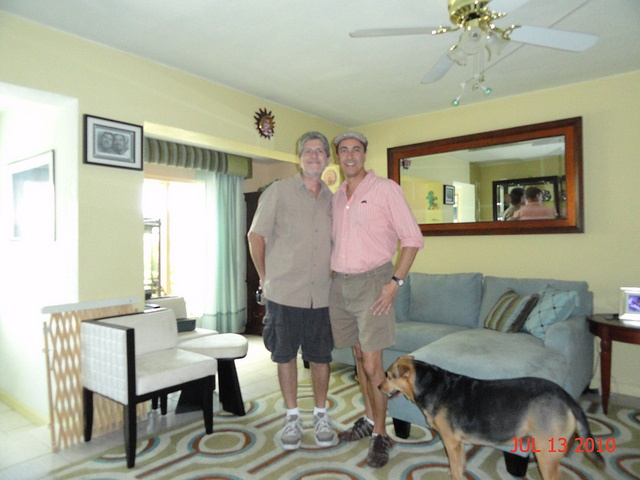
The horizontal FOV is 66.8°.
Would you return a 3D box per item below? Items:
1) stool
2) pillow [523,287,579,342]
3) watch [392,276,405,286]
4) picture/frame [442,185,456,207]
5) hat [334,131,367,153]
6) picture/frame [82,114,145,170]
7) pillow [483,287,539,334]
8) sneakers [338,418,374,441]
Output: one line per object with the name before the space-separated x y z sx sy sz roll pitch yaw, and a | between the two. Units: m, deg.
stool | -0.837 1.161 4.292 0.500 0.583 0.644 2 3 37
pillow | 1.924 0.595 4.085 0.122 0.408 0.402 34 -5 -14
watch | 0.522 0.271 3.298 0.081 0.072 0.111 0 6 12
picture/frame | 1.447 -0.486 5.424 0.034 0.322 0.231 1 1 -37
hat | 0.221 -0.715 3.430 0.180 0.056 0.192 8 -6 -3
picture/frame | -1.733 -0.805 3.990 0.501 0.423 0.037 2 -5 -44
pillow | 1.681 0.623 4.273 0.104 0.353 0.349 31 -1 -8
sneakers | 0.277 1.423 3.676 0.332 0.147 0.114 -3 3 -16
